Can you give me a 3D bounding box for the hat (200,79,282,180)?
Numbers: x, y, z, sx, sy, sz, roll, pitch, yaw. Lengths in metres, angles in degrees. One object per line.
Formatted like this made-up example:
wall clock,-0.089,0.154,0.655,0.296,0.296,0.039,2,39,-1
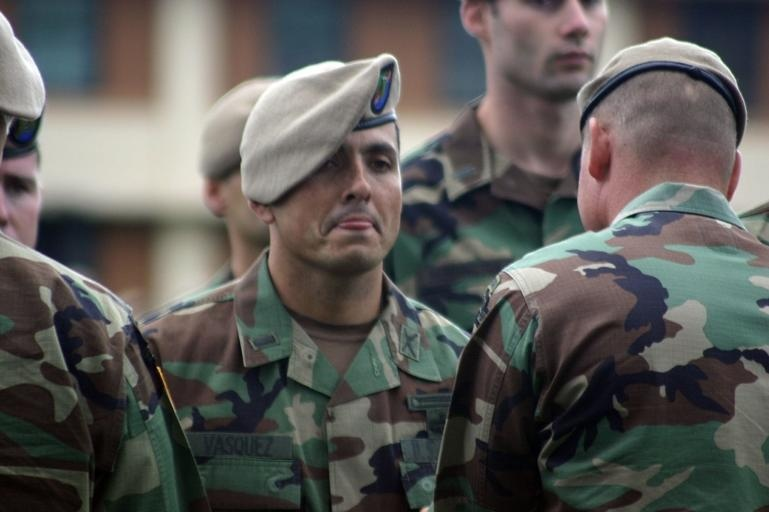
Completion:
hat,-0.859,-0.676,9.020,0.437,0.373,0.595,10,-24,-28
